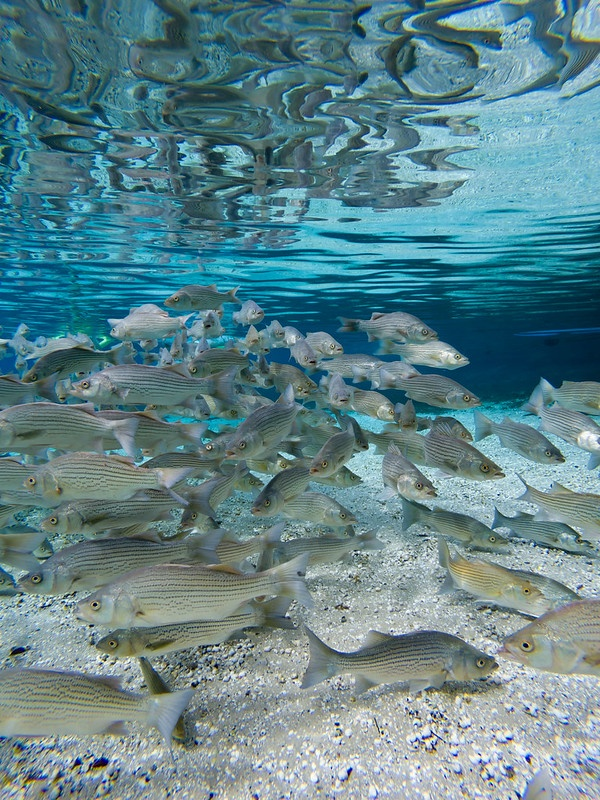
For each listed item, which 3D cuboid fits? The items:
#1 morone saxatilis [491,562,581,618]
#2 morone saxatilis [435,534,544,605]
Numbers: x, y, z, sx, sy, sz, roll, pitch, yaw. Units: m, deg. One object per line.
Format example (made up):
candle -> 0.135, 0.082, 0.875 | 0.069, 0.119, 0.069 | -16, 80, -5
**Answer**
morone saxatilis -> 1.981, 1.610, 5.354 | 0.998, 0.199, 0.369 | 14, 44, 6
morone saxatilis -> 1.505, 1.478, 5.390 | 0.342, 0.443, 1.117 | 19, -7, -41
